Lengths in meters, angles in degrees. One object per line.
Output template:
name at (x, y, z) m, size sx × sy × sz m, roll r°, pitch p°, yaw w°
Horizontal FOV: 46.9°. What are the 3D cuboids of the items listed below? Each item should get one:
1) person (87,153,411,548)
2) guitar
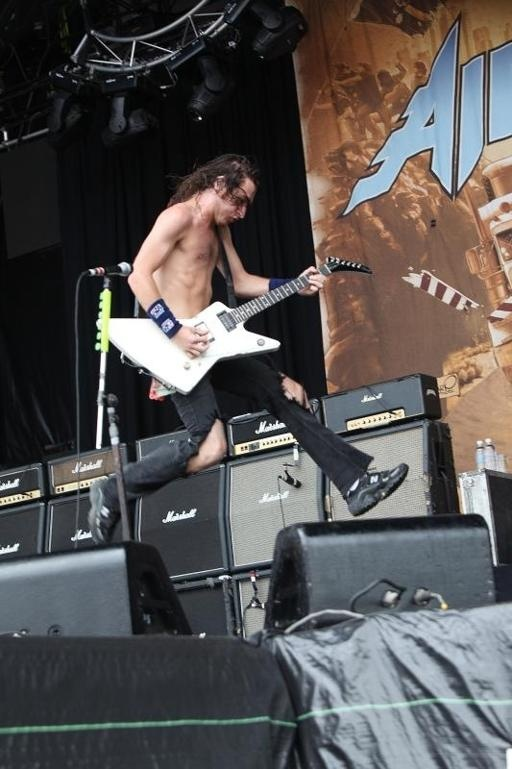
person at (-0.039, -0.157, 2.178) m, size 0.890 × 1.257 × 0.560 m, roll 10°, pitch 3°, yaw -2°
guitar at (0.033, -0.298, 2.995) m, size 1.105 × 0.456 × 0.141 m, roll -30°, pitch -16°, yaw -24°
